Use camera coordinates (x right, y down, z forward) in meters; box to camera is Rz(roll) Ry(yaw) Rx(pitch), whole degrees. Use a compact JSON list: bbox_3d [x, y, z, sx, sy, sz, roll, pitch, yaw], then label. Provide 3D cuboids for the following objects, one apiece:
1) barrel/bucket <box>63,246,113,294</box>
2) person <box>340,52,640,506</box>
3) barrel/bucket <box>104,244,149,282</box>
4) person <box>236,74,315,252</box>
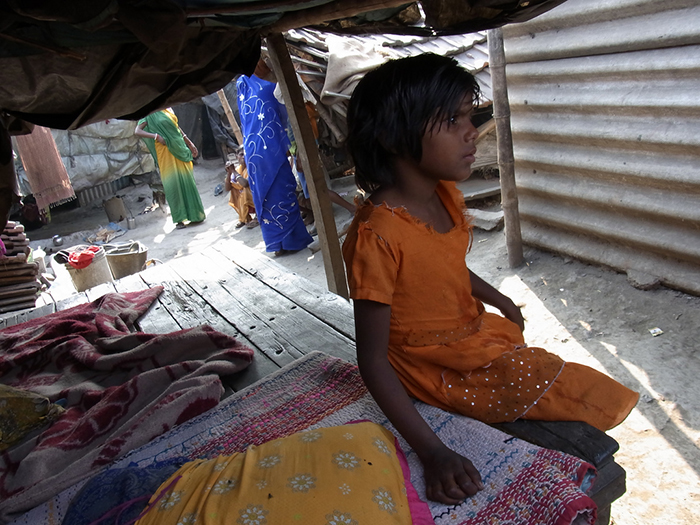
[{"bbox_3d":[-3.348,0.097,5.285,0.631,0.585,0.591,-6,19,2],"label":"barrel/bucket"},{"bbox_3d":[0.328,-0.032,1.297,0.752,1.188,0.801,-18,27,-16],"label":"person"},{"bbox_3d":[-2.879,0.008,5.296,0.463,0.391,0.347,-23,22,-17],"label":"barrel/bucket"},{"bbox_3d":[-1.172,-1.377,6.132,0.785,2.669,0.523,-11,27,-2],"label":"person"}]
